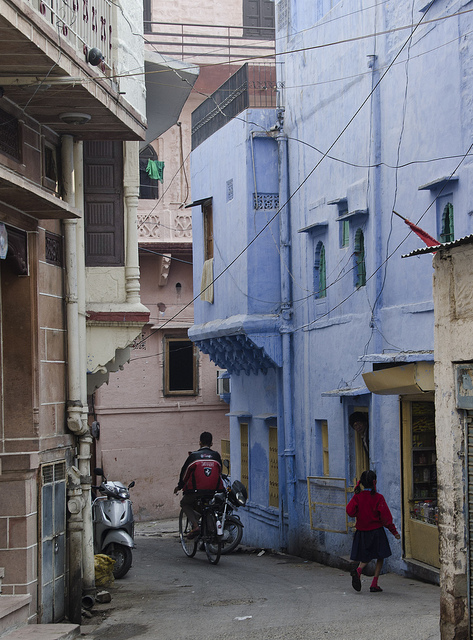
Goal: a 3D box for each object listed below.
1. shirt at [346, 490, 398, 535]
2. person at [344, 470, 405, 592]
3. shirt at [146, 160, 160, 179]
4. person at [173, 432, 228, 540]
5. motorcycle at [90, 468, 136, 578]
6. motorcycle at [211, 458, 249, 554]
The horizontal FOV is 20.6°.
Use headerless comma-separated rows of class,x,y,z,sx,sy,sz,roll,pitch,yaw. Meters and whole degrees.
shirt,1.477,2.021,14.217,0.555,0.581,0.286,7,33,13
person,1.565,2.344,14.641,0.617,1.302,1.698,-1,-7,8
shirt,-1.728,-3.043,26.523,0.280,0.374,0.257,3,-7,-35
person,-0.484,2.221,17.714,0.537,1.449,0.583,7,-11,-41
motorcycle,-1.561,2.562,16.577,0.414,1.015,1.256,2,-5,-12
motorcycle,-0.085,2.617,17.595,0.457,0.946,1.155,1,-6,1
